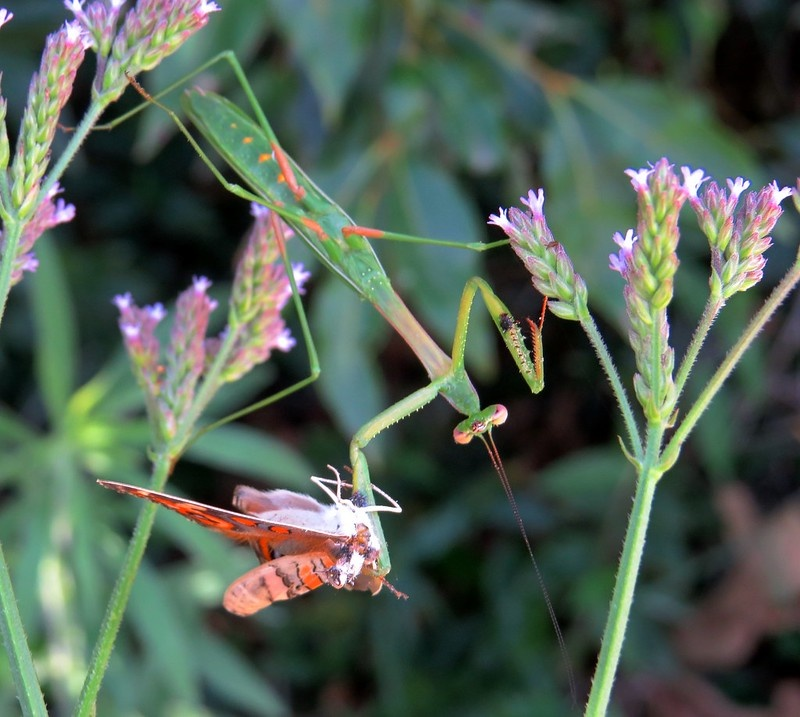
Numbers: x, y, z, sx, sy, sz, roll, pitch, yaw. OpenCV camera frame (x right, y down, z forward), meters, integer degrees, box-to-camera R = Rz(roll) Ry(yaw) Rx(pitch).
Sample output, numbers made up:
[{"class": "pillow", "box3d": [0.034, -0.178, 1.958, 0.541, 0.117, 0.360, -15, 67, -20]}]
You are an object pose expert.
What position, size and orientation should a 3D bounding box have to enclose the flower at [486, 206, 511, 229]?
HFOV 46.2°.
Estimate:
[{"class": "flower", "box3d": [0.187, -0.273, 1.787, 0.022, 0.040, 0.043, -43, -37, -20]}]
